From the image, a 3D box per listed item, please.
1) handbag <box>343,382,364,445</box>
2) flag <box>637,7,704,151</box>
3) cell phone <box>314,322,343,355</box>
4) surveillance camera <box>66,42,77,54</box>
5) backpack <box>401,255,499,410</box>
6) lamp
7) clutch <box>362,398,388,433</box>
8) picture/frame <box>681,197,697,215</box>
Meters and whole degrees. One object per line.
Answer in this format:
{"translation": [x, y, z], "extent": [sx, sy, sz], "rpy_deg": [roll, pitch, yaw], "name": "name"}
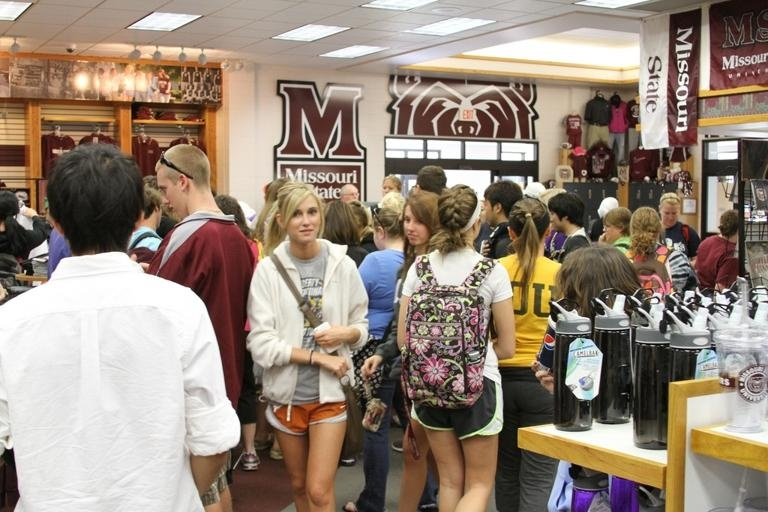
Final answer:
{"translation": [-0.145, 0.849, 3.224], "extent": [0.092, 0.324, 0.126], "rpy_deg": [-2, -10, -25], "name": "handbag"}
{"translation": [3.747, -2.298, 7.979], "extent": [0.070, 1.729, 0.881], "rpy_deg": [-10, 11, -29], "name": "flag"}
{"translation": [-0.292, 0.424, 3.181], "extent": [0.149, 0.151, 0.035], "rpy_deg": [-10, -2, 42], "name": "cell phone"}
{"translation": [-4.940, -3.247, 9.582], "extent": [0.121, 0.137, 0.121], "rpy_deg": [0, -6, -21], "name": "surveillance camera"}
{"translation": [0.325, 0.366, 2.984], "extent": [0.436, 0.730, 0.414], "rpy_deg": [0, 3, 34], "name": "backpack"}
{"translation": [-4.234, -3.290, 10.028], "extent": [3.766, 0.269, 1.029], "rpy_deg": [-2, 6, -21], "name": "lamp"}
{"translation": [-0.048, 0.893, 3.399], "extent": [0.077, 0.112, 0.076], "rpy_deg": [7, -16, 30], "name": "clutch"}
{"translation": [6.361, -1.025, 12.711], "extent": [0.339, 0.345, 0.034], "rpy_deg": [2, -5, -13], "name": "picture/frame"}
